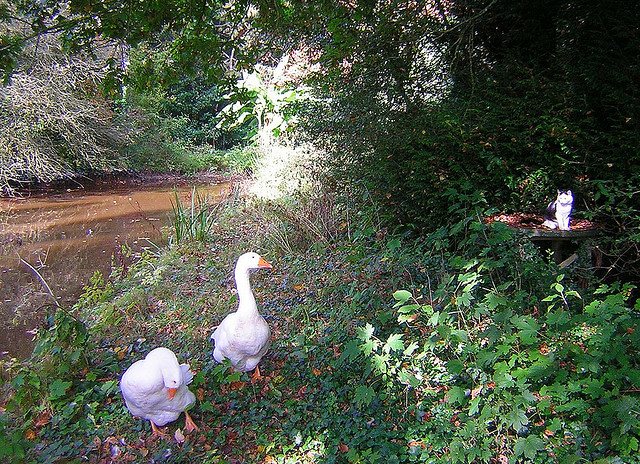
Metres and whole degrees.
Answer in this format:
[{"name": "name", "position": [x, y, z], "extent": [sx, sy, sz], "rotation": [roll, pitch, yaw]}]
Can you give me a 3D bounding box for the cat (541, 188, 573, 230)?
[{"name": "cat", "position": [2.403, -0.223, 4.124], "extent": [0.251, 0.410, 0.126], "rotation": [6, 28, 32]}]
